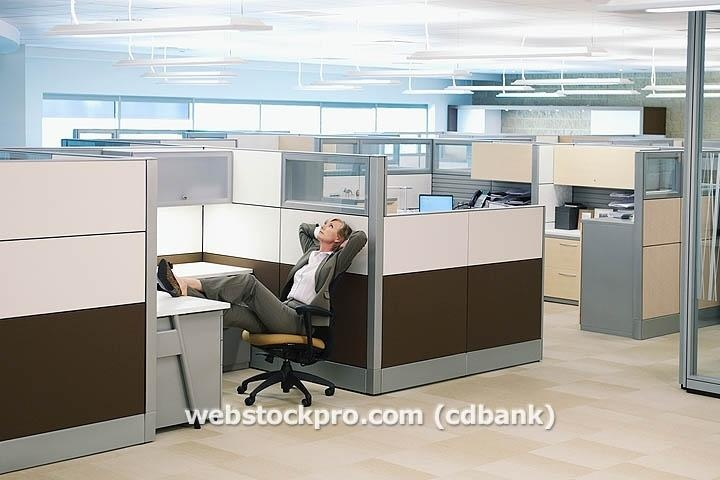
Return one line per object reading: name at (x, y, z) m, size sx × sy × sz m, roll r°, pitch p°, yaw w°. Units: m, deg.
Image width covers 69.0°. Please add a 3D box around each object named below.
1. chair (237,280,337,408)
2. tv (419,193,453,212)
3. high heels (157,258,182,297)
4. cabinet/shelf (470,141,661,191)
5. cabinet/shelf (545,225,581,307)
chair at (-0.710, 0.996, 4.898) m, size 0.939 × 0.874 × 0.828 m, roll -2°, pitch -9°, yaw 10°
tv at (1.330, -0.643, 9.071) m, size 0.424 × 0.262 × 0.602 m, roll -1°, pitch 4°, yaw -28°
high heels at (-1.628, 0.339, 4.400) m, size 0.166 × 0.363 × 0.137 m, roll -10°, pitch -2°, yaw -42°
cabinet/shelf at (3.130, -1.256, 8.668) m, size 2.548 × 0.830 × 0.375 m, roll 3°, pitch 5°, yaw 34°
cabinet/shelf at (3.244, 0.450, 8.437) m, size 0.574 × 1.170 × 0.420 m, roll 4°, pitch 5°, yaw 33°
